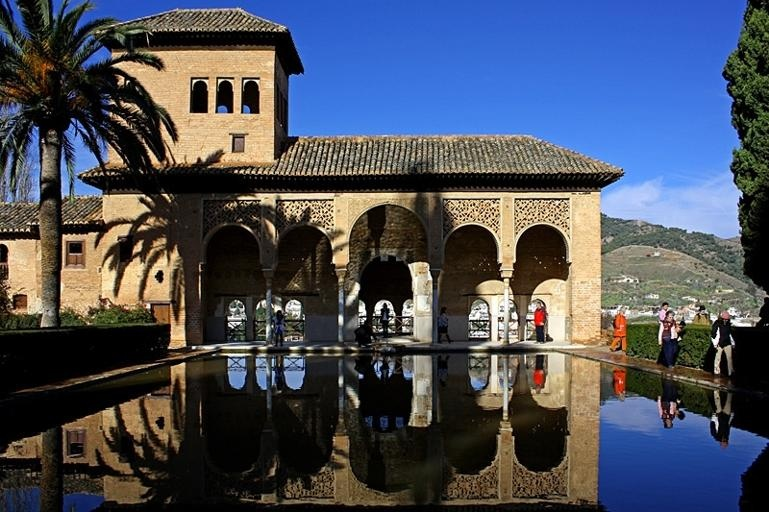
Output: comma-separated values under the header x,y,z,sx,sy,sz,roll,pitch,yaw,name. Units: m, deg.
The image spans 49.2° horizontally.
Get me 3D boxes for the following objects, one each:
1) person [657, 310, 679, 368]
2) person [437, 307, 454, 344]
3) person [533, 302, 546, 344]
x,y,z,sx,sy,sz,roll,pitch,yaw,name
8.993,2.672,26.620,0.616,1.876,1.131,4,15,18,person
2.432,2.832,34.086,0.503,1.543,1.145,1,14,7,person
6.244,2.776,33.674,0.451,1.448,1.432,2,14,12,person
